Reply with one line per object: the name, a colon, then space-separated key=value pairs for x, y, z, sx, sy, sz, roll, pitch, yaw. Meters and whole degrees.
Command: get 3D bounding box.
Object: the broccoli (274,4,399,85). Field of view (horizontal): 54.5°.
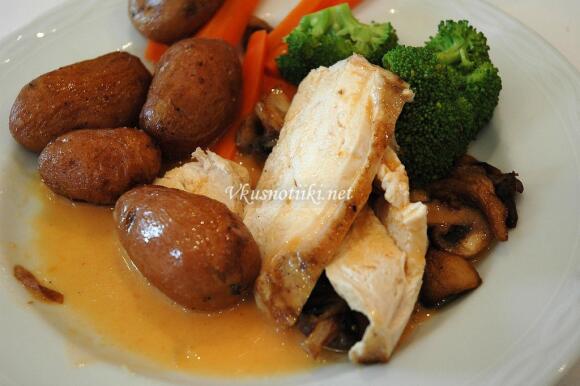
broccoli: x=0.231 y=-0.736 z=2.739 sx=0.484 sy=0.246 sz=0.409 roll=-38 pitch=51 yaw=-26
